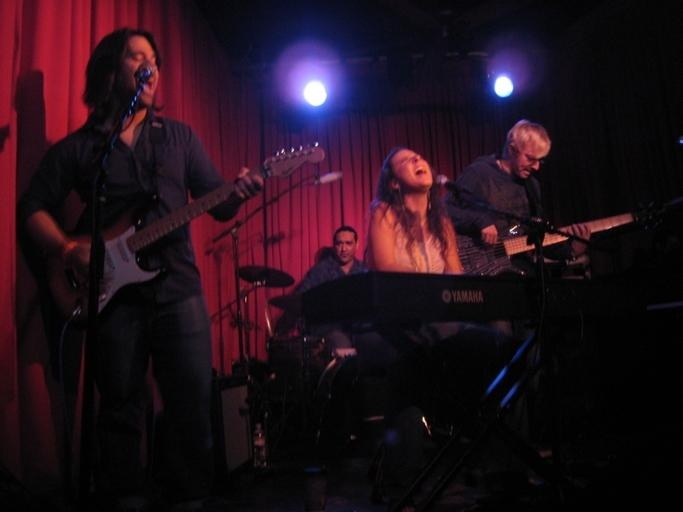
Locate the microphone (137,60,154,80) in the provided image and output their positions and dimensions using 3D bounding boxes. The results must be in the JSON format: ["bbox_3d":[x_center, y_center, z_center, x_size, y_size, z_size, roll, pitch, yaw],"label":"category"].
[{"bbox_3d":[-0.954,-0.916,3.025,0.062,0.088,0.087,-3,3,-4],"label":"microphone"}]

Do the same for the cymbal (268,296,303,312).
[{"bbox_3d":[-0.593,0.505,6.685,0.396,0.117,0.429,-2,-4,-17],"label":"cymbal"}]

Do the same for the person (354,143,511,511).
[{"bbox_3d":[0.479,0.349,3.403,0.390,1.904,0.510,-4,-1,-22],"label":"person"}]

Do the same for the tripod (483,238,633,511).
[{"bbox_3d":[1.031,0.593,2.958,0.330,1.512,0.523,2,3,18],"label":"tripod"}]

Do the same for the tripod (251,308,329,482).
[{"bbox_3d":[-0.444,1.177,5.129,0.275,1.192,0.610,-10,-4,27],"label":"tripod"}]

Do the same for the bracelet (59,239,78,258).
[{"bbox_3d":[-1.310,-0.035,2.963,0.048,0.077,0.070,20,6,16],"label":"bracelet"}]

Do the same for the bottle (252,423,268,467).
[{"bbox_3d":[-0.561,1.304,4.294,0.106,0.351,0.115,0,14,0],"label":"bottle"}]
